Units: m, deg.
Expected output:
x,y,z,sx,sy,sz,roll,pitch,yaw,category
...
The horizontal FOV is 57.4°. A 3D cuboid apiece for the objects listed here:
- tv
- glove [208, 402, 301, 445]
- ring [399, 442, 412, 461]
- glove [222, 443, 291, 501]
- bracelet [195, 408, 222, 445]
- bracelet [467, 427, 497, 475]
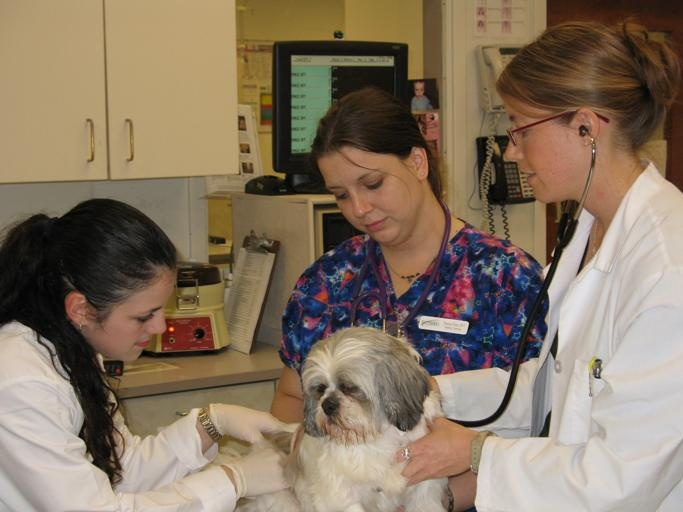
x,y,z,sx,sy,sz,roll,pitch,yaw,category
-0.029,-0.823,3.426,0.689,0.793,0.389,-4,29,-8,tv
-0.304,0.621,2.169,0.353,0.139,0.106,23,-48,-24,glove
0.181,0.569,1.778,0.017,0.033,0.043,-13,-21,-23,ring
-0.284,0.670,2.007,0.217,0.185,0.145,-3,-23,-29,glove
-0.459,0.582,2.134,0.069,0.111,0.114,-37,-21,3,bracelet
0.378,0.530,1.686,0.035,0.108,0.074,9,-19,-19,bracelet
